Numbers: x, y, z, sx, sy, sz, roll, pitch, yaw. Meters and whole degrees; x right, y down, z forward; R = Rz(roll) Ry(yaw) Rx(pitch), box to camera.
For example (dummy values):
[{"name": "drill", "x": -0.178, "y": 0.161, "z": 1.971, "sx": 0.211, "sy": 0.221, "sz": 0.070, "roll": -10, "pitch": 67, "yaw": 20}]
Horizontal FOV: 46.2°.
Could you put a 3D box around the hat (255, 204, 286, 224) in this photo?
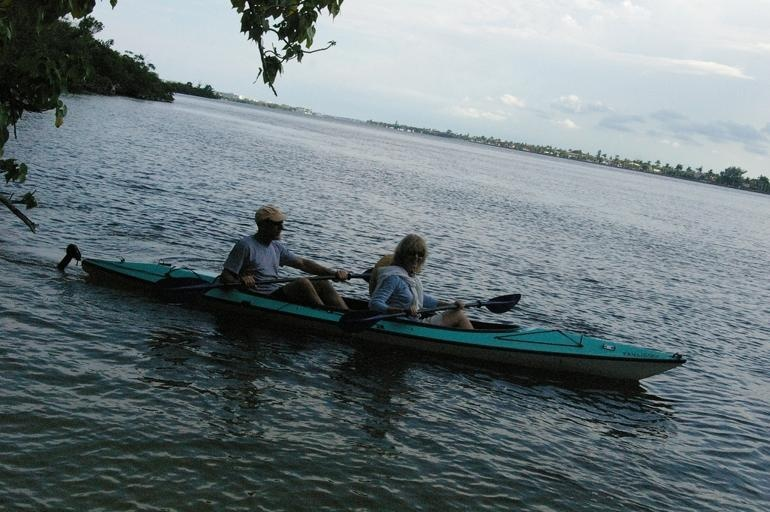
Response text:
[{"name": "hat", "x": -2.140, "y": -0.742, "z": 15.650, "sx": 0.597, "sy": 0.190, "sz": 0.339, "roll": -2, "pitch": 7, "yaw": 6}]

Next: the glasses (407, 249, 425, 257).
[{"name": "glasses", "x": 0.524, "y": -0.046, "z": 15.191, "sx": 0.258, "sy": 0.115, "sz": 0.070, "roll": 3, "pitch": 16, "yaw": -28}]

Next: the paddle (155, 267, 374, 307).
[{"name": "paddle", "x": -2.416, "y": 0.560, "z": 16.313, "sx": 4.957, "sy": 0.379, "sz": 0.530, "roll": -3, "pitch": 17, "yaw": -2}]
